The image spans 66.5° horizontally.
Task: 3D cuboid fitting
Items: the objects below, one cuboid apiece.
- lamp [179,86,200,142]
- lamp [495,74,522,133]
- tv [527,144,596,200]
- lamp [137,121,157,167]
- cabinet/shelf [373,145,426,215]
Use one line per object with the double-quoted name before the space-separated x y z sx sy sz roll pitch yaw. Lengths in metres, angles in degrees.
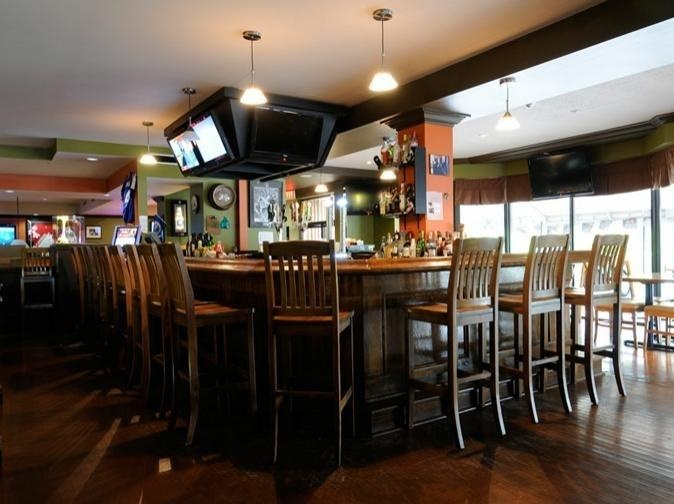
"lamp" -2.065 -1.992 7.223 0.206 0.564 0.814 -4 13 -15
"lamp" 2.150 -1.849 6.479 0.214 0.562 1.567 3 13 17
"tv" 4.215 -1.525 9.562 0.138 0.771 0.981 -13 9 -37
"lamp" -3.442 -1.941 9.239 0.265 0.775 1.930 -5 14 -20
"cabinet/shelf" 0.852 -0.961 6.834 0.378 0.949 0.771 -10 15 -37
